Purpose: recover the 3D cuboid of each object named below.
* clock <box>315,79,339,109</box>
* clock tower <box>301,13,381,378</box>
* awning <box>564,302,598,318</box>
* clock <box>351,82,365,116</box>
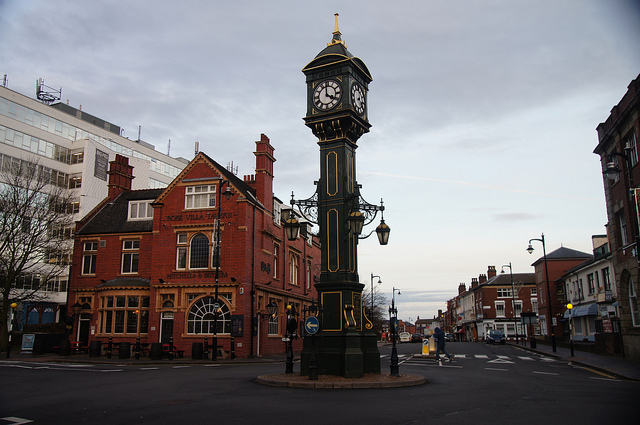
[{"bbox_3d":[0.393,-6.626,33.463,1.698,1.926,0.172,6,-17,11],"label":"clock"},{"bbox_3d":[1.069,-1.195,33.108,3.290,20.010,3.928,-2,-18,-2],"label":"clock tower"},{"bbox_3d":[28.449,10.607,64.444,1.277,1.632,6.479,-4,-18,4],"label":"awning"},{"bbox_3d":[2.091,-6.389,33.734,0.142,2.222,2.252,-6,-3,24],"label":"clock"}]
